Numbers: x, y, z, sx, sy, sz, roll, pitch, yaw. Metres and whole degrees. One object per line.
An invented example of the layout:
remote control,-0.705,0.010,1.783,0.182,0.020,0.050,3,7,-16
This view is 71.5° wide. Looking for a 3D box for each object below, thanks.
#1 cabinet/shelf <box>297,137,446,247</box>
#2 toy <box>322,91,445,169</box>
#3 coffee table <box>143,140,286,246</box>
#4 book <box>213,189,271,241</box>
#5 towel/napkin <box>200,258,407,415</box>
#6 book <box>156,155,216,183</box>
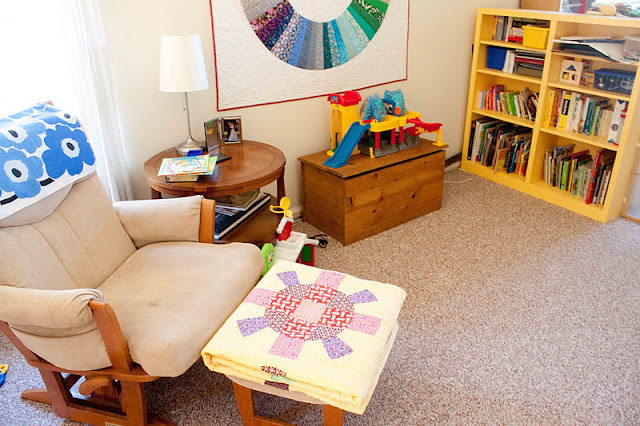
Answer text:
cabinet/shelf,0.449,-0.243,3.670,1.113,0.559,0.590,-19,30,-33
toy,0.466,-0.706,3.530,0.951,0.445,0.553,-23,42,-25
coffee table,-0.653,-0.252,2.861,0.788,0.648,0.706,-14,34,-24
book,-0.536,0.048,2.996,0.296,0.087,0.434,0,24,35
towel/napkin,-0.040,0.580,2.050,0.767,0.193,0.739,8,37,12
book,-0.817,-0.272,2.723,0.229,0.054,0.220,2,32,5
